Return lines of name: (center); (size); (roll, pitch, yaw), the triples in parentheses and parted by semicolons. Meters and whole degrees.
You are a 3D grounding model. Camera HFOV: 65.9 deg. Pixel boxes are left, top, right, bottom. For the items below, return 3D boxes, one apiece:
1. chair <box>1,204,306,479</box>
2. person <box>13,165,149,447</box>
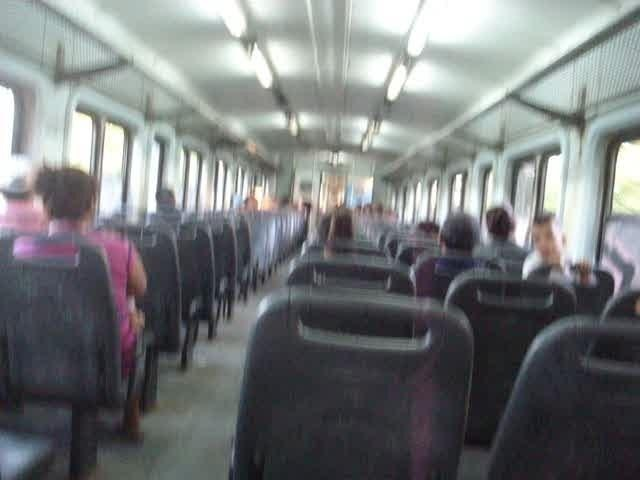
chair: (-0.475, 0.244, 1.566); (0.687, 0.745, 0.565); (2, 14, -2)
person: (-0.665, 0.182, 1.396); (0.287, 0.771, 0.351); (9, 14, 15)
